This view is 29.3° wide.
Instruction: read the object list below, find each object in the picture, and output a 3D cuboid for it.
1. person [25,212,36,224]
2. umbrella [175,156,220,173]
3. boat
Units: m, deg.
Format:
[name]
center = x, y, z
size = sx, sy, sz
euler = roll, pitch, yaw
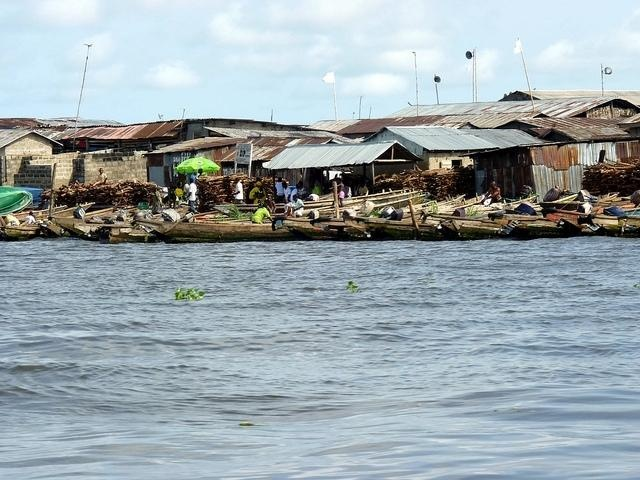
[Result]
[person]
center = -10.494, -0.746, 44.761
size = 0.465, 0.190, 0.720
euler = -3, 19, -1
[umbrella]
center = -4.860, -3.003, 49.307
size = 2.050, 0.510, 1.695
euler = -2, 0, -1
[boat]
center = 0.262, -0.439, 40.034
size = 19.670, 1.230, 2.032
euler = -1, -1, 14
